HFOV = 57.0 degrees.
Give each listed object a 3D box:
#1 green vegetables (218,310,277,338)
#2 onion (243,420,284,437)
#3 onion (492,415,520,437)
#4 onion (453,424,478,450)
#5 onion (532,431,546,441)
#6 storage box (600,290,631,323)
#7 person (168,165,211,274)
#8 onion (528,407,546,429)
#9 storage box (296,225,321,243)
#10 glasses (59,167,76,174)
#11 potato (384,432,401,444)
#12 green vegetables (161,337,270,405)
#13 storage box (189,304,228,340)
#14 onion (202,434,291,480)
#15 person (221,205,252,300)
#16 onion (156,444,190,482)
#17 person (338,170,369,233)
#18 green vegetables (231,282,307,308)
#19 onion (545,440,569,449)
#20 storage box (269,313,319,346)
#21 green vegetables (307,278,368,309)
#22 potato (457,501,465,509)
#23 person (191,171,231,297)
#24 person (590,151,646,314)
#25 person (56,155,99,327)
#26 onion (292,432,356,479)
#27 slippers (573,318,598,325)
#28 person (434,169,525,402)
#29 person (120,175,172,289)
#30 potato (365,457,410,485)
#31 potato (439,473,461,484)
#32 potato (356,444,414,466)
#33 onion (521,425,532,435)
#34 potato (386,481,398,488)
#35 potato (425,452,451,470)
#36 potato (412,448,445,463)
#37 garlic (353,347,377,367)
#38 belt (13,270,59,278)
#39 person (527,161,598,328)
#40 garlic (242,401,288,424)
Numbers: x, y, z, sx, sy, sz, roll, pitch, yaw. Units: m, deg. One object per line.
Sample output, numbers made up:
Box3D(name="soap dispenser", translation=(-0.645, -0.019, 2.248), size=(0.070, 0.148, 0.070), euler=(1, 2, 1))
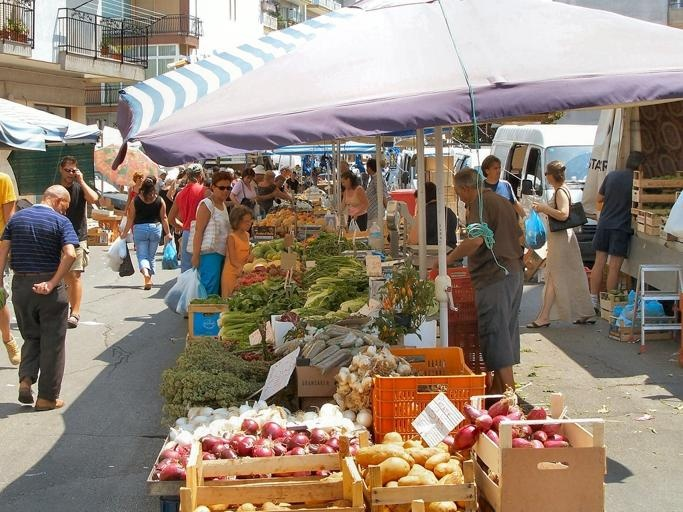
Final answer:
Box3D(name="green vegetables", translation=(-1.057, 0.726, 6.553), size=(0.320, 0.164, 0.383), euler=(-5, 0, 14))
Box3D(name="onion", translation=(-0.527, 1.166, 4.197), size=(0.215, 0.091, 0.133), euler=(3, -9, 26))
Box3D(name="onion", translation=(0.915, 0.936, 3.481), size=(0.135, 0.095, 0.162), euler=(-3, -16, -8))
Box3D(name="onion", translation=(0.707, 1.043, 3.620), size=(0.101, 0.148, 0.089), euler=(36, 5, -14))
Box3D(name="onion", translation=(1.077, 0.981, 3.401), size=(0.041, 0.033, 0.053), euler=(-18, 15, -6))
Box3D(name="storage box", translation=(4.171, 0.731, 9.582), size=(0.416, 0.332, 0.527), euler=(-4, 6, -9))
Box3D(name="person", translation=(-2.465, -0.541, 10.692), size=(0.882, 1.960, 0.509), euler=(3, 22, 5))
Box3D(name="onion", translation=(1.161, 0.955, 3.707), size=(0.095, 0.119, 0.098), euler=(2, 24, 8))
Box3D(name="storage box", translation=(-0.657, -0.432, 12.081), size=(0.380, 0.236, 0.381), euler=(-2, 3, -3))
Box3D(name="glasses", translation=(-3.963, -1.224, 9.138), size=(0.180, 0.089, 0.149), euler=(-5, 9, -24))
Box3D(name="potato", translation=(0.329, 1.150, 3.959), size=(0.096, 0.089, 0.070), euler=(-20, -16, 36))
Box3D(name="green vegetables", translation=(-1.071, 1.015, 5.291), size=(0.556, 0.297, 0.670), euler=(-8, 4, -5))
Box3D(name="storage box", translation=(-1.595, 0.751, 7.369), size=(0.454, 0.340, 0.454), euler=(0, -4, -6))
Box3D(name="onion", translation=(-0.614, 1.225, 3.930), size=(0.275, 0.075, 0.256), euler=(0, -2, -16))
Box3D(name="person", translation=(-1.510, -0.046, 8.962), size=(0.427, 1.308, 0.449), euler=(3, 10, -15))
Box3D(name="onion", translation=(-1.029, 1.267, 3.837), size=(0.156, 0.096, 0.267), euler=(-4, -7, -2))
Box3D(name="person", translation=(0.358, -1.244, 15.115), size=(0.590, 1.486, 0.676), euler=(3, 13, -10))
Box3D(name="green vegetables", translation=(-0.842, 0.475, 7.094), size=(0.768, 0.294, 0.762), euler=(-5, 7, -13))
Box3D(name="onion", translation=(1.140, 1.002, 3.325), size=(0.114, 0.039, 0.053), euler=(-1, -5, -6))
Box3D(name="storage box", translation=(-0.443, 0.648, 5.638), size=(0.328, 0.203, 0.325), euler=(5, -42, -37))
Box3D(name="green vegetables", translation=(-0.081, 0.399, 6.873), size=(0.635, 0.308, 0.627), euler=(-1, 8, -22))
Box3D(name="potato", translation=(0.634, 1.325, 3.323), size=(0.036, 0.044, 0.037), euler=(-1, 3, 3))
Box3D(name="person", translation=(-1.894, -0.299, 9.034), size=(0.528, 1.712, 0.668), euler=(0, 1, -26))
Box3D(name="person", translation=(4.327, -0.339, 10.213), size=(0.800, 2.555, 0.800), euler=(0, 1, -8))
Box3D(name="person", translation=(-4.006, -0.219, 9.665), size=(0.665, 2.434, 0.919), euler=(6, -6, -25))
Box3D(name="onion", translation=(-0.093, 1.191, 3.911), size=(0.301, 0.190, 0.300), euler=(0, -2, -22))
Box3D(name="slippers", translation=(3.828, 1.049, 9.846), size=(0.361, 0.100, 0.127), euler=(3, -5, -32))
Box3D(name="person", translation=(1.448, 0.276, 6.327), size=(0.699, 2.203, 0.912), euler=(1, 8, 34))
Box3D(name="person", translation=(-3.955, -0.576, 12.798), size=(0.828, 2.714, 1.082), euler=(0, 1, -19))
Box3D(name="potato", translation=(0.270, 1.167, 3.470), size=(0.248, 0.125, 0.120), euler=(-11, 31, -40))
Box3D(name="potato", translation=(0.590, 1.205, 3.380), size=(0.066, 0.026, 0.063), euler=(-17, 12, -21))
Box3D(name="potato", translation=(0.232, 1.128, 3.569), size=(0.279, 0.121, 0.138), euler=(-7, -21, 6))
Box3D(name="onion", translation=(1.008, 0.957, 3.431), size=(0.051, 0.052, 0.050), euler=(-6, 7, -24))
Box3D(name="potato", translation=(0.272, 1.226, 3.354), size=(0.046, 0.026, 0.046), euler=(-6, 3, 1))
Box3D(name="potato", translation=(0.542, 1.160, 3.568), size=(0.137, 0.072, 0.065), euler=(-13, -6, -38))
Box3D(name="potato", translation=(0.499, 1.134, 3.621), size=(0.158, 0.056, 0.079), euler=(-6, 4, -17))
Box3D(name="garlic", translation=(0.177, 0.747, 4.612), size=(0.109, 0.075, 0.181), euler=(-1, 17, 12))
Box3D(name="belt", translation=(-3.211, 0.209, 6.580), size=(0.380, 0.068, 0.055), euler=(-2, 8, -3))
Box3D(name="person", translation=(3.285, -0.135, 9.437), size=(1.007, 2.407, 0.780), euler=(-2, 4, -3))
Box3D(name="garlic", translation=(-0.563, 1.142, 4.501), size=(0.171, 0.064, 0.168), euler=(1, 1, -35))
